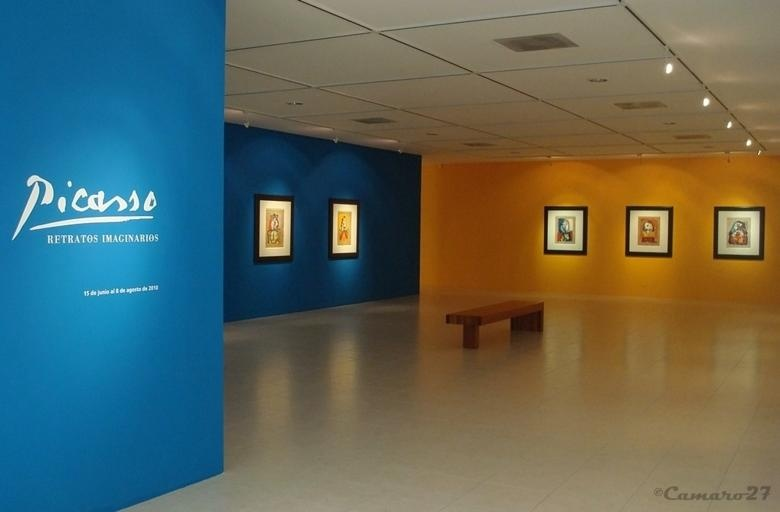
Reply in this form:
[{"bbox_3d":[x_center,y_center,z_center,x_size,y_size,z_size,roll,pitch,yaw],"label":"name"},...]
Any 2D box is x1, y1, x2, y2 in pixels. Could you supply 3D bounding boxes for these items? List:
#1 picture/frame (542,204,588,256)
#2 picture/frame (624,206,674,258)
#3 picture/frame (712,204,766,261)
[{"bbox_3d":[5.840,-0.889,17.839,1.710,1.951,0.139,0,-3,22],"label":"picture/frame"},{"bbox_3d":[8.122,-0.778,16.857,1.606,1.864,0.139,1,2,25],"label":"picture/frame"},{"bbox_3d":[10.345,-0.727,15.970,1.636,1.999,0.147,1,4,18],"label":"picture/frame"}]
